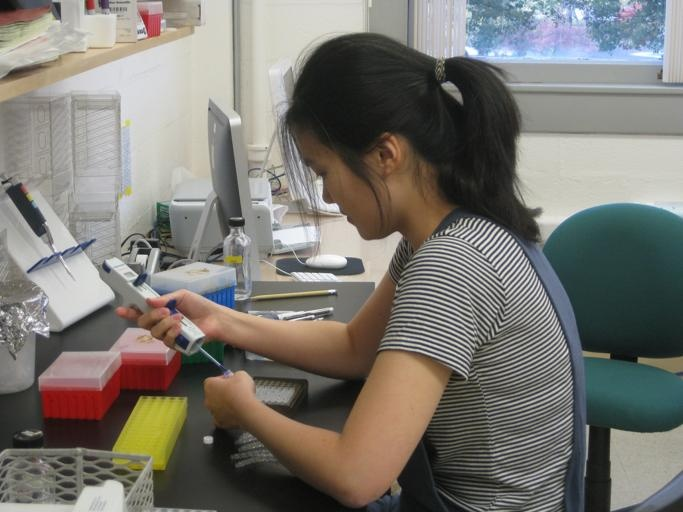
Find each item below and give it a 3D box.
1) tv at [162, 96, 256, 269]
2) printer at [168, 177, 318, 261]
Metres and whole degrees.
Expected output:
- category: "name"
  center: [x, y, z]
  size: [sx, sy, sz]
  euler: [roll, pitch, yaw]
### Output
- category: "tv"
  center: [-0.532, -0.278, 2.337]
  size: [0.328, 0.705, 0.677]
  euler: [-4, 19, -14]
- category: "printer"
  center: [-0.423, -0.130, 2.362]
  size: [0.377, 0.162, 0.430]
  euler: [0, 15, -4]
